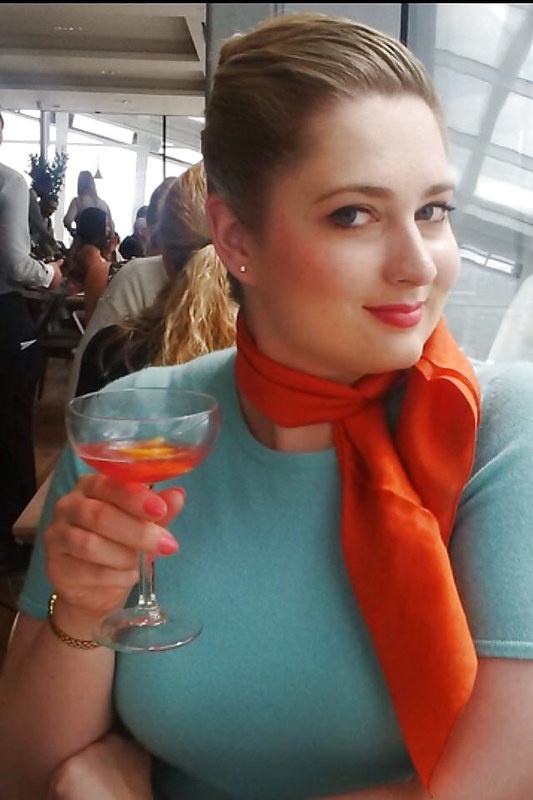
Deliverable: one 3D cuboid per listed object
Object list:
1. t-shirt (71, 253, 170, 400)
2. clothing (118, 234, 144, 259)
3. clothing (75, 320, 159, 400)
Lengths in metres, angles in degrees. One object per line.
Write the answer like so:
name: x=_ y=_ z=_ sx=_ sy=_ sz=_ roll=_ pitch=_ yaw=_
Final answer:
t-shirt: x=-0.528 y=-0.248 z=2.172 sx=0.153 sy=0.491 sz=0.370 roll=37 pitch=18 yaw=16
clothing: x=-0.500 y=-0.559 z=2.330 sx=0.074 sy=0.094 sz=0.042 roll=0 pitch=-1 yaw=3
clothing: x=-0.381 y=-0.108 z=1.619 sx=0.176 sy=0.201 sz=0.162 roll=46 pitch=33 yaw=20
